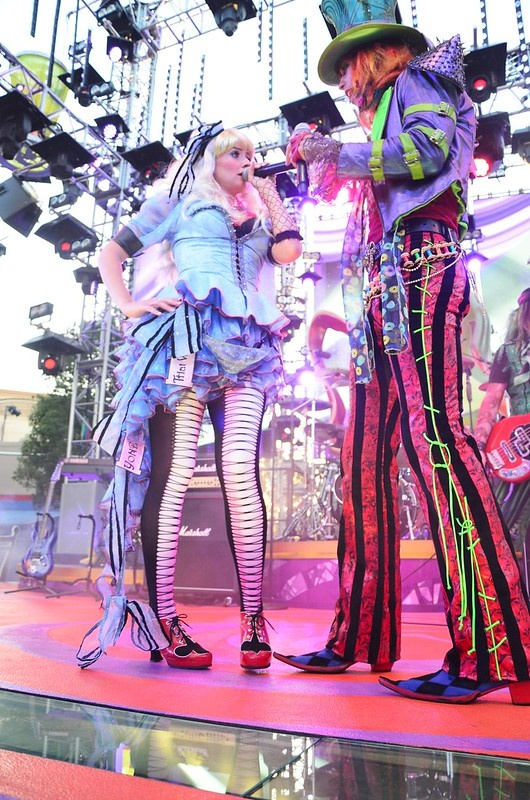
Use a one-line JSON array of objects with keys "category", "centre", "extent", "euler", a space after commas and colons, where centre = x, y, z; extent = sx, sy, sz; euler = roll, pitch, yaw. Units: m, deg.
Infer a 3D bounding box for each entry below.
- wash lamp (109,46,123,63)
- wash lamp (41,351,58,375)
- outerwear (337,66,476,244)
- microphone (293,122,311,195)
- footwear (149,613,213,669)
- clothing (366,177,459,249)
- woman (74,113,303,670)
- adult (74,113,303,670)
[{"category": "wash lamp", "centre": [-1.844, -4.270, 7.902], "extent": [0.172, 0.092, 0.208], "euler": [0, -2, -14]}, {"category": "wash lamp", "centre": [-2.866, -0.474, 8.488], "extent": [0.287, 0.246, 0.106], "euler": [-1, 7, 22]}, {"category": "outerwear", "centre": [0.337, -0.609, 1.515], "extent": [0.336, 0.378, 0.363], "euler": [-8, 12, 4]}, {"category": "microphone", "centre": [0.104, -0.658, 1.778], "extent": [0.044, 0.253, 0.060], "euler": [19, -29, -34]}, {"category": "footwear", "centre": [-0.230, 0.624, 1.675], "extent": [0.089, 0.115, 0.250], "euler": [8, -14, -37]}, {"category": "clothing", "centre": [0.348, -0.448, 1.530], "extent": [0.152, 0.074, 0.139], "euler": [-6, -17, 25]}, {"category": "woman", "centre": [-0.198, -0.067, 1.886], "extent": [0.668, 1.663, 0.507], "euler": [1, -14, -7]}, {"category": "adult", "centre": [-0.209, -0.076, 1.910], "extent": [0.689, 1.695, 0.505], "euler": [-1, -14, 0]}]
